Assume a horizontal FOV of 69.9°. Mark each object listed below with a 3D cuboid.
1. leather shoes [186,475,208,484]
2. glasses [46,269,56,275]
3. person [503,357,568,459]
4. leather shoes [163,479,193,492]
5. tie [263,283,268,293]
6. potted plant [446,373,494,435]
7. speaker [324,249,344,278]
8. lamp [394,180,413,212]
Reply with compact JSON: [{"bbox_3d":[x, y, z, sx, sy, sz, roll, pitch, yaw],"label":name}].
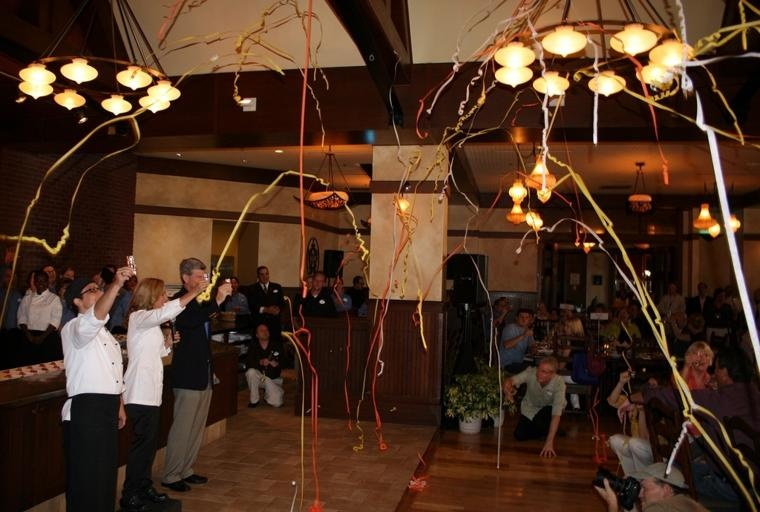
[{"bbox_3d":[-1.870,2.281,5.568,0.203,0.084,0.078,0,5,-3],"label":"leather shoes"},{"bbox_3d":[-4.767,0.226,7.887,0.104,0.065,0.082,-17,-18,37],"label":"glasses"},{"bbox_3d":[1.981,1.922,6.891,0.732,1.317,1.134,4,12,13],"label":"person"},{"bbox_3d":[-2.005,2.279,5.395,0.254,0.109,0.121,2,-3,6],"label":"leather shoes"},{"bbox_3d":[-2.133,0.600,10.084,0.124,0.176,0.045,3,-7,-16],"label":"tie"},{"bbox_3d":[1.228,1.970,7.282,0.697,0.705,0.693,1,-10,-2],"label":"potted plant"},{"bbox_3d":[-1.131,0.178,13.105,0.216,0.625,0.707,-1,-5,11],"label":"speaker"},{"bbox_3d":[0.329,-0.812,7.550,0.309,0.507,0.372,2,-2,5],"label":"lamp"}]
